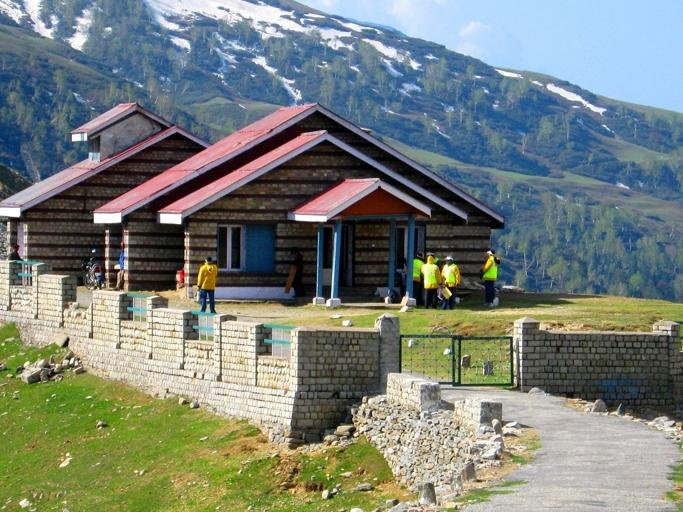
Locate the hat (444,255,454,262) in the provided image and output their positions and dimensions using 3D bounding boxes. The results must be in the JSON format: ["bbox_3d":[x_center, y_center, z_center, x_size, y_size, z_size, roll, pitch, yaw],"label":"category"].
[{"bbox_3d":[4.248,0.100,53.308,0.285,0.201,0.408,0,-11,12],"label":"hat"}]

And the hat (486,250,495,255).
[{"bbox_3d":[7.068,-0.138,64.247,0.579,0.197,0.587,6,1,18],"label":"hat"}]

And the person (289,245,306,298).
[{"bbox_3d":[-1.893,0.731,57.706,0.582,2.114,1.271,1,-6,-2],"label":"person"}]

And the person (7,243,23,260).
[{"bbox_3d":[-15.044,-0.166,62.315,0.612,0.919,0.564,7,13,29],"label":"person"}]
